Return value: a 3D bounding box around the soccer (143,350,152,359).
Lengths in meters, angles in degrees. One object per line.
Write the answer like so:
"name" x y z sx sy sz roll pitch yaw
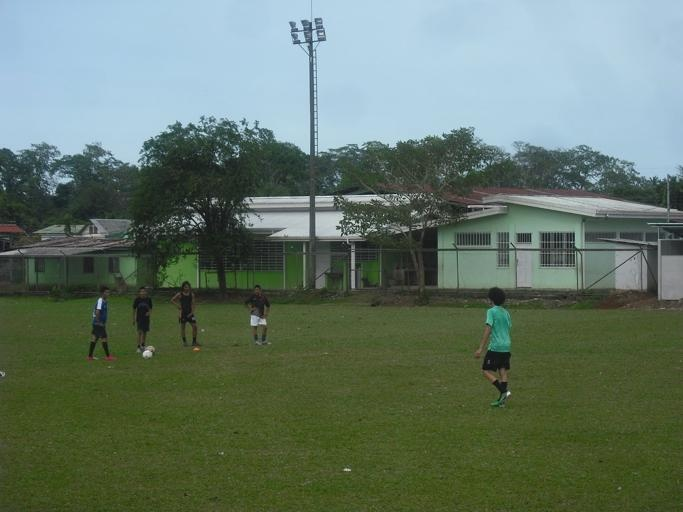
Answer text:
"soccer" -5.265 2.624 32.496 0.254 0.214 0.309 -1 -2 -13
